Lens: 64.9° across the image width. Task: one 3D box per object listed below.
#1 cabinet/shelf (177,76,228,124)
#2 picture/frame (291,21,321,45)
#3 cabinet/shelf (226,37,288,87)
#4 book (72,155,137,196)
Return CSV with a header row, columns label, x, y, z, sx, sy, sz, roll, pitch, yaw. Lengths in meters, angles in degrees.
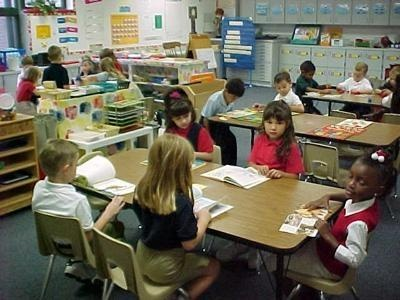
label,x,y,z,sx,sy,sz,roll,pitch,yaw
cabinet/shelf,0.046,-0.767,5.578,0.651,0.747,0.937,15,25,41
picture/frame,3.172,-3.477,9.318,0.679,0.621,0.246,11,2,29
cabinet/shelf,1.671,-3.058,10.376,2.158,2.176,1.188,13,23,33
book,-0.690,0.124,2.241,0.376,0.118,0.271,25,32,29
